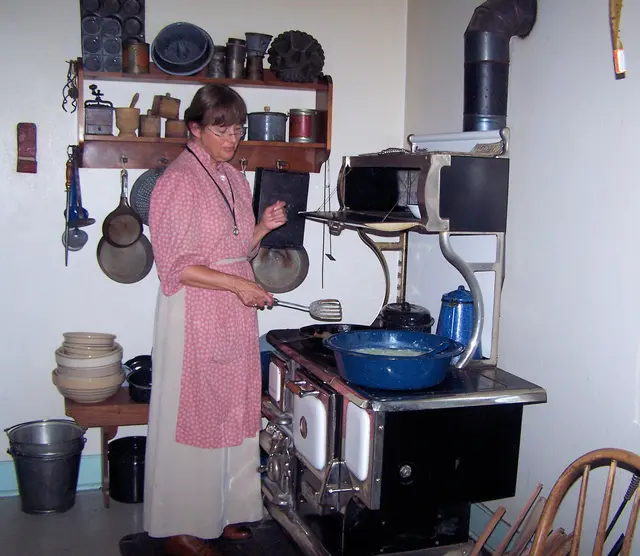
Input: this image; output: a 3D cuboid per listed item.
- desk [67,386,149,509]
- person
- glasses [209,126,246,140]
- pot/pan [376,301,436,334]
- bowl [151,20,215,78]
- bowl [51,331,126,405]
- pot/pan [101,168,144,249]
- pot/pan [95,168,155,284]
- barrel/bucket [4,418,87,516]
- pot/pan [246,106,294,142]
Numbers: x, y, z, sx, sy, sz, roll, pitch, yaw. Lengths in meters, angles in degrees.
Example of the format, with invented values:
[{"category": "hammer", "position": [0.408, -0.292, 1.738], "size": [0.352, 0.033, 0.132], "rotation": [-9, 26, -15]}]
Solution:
[{"category": "desk", "position": [-0.959, 0.754, 2.848], "size": [0.501, 0.448, 0.274], "rotation": [-1, 12, -16]}, {"category": "person", "position": [-0.413, 0.152, 2.263], "size": [0.451, 1.641, 0.404], "rotation": [-1, 8, -16]}, {"category": "glasses", "position": [-0.320, -0.517, 2.238], "size": [0.147, 0.043, 0.048], "rotation": [-7, 11, -44]}, {"category": "pot/pan", "position": [0.331, 0.123, 2.334], "size": [0.125, 0.097, 0.127], "rotation": [7, 7, 28]}, {"category": "bowl", "position": [-0.600, -1.004, 2.763], "size": [0.263, 0.243, 0.115], "rotation": [-1, 7, -11]}, {"category": "bowl", "position": [-1.023, 0.387, 2.779], "size": [0.296, 0.282, 0.299], "rotation": [3, 8, 0]}, {"category": "pot/pan", "position": [-0.908, -0.323, 2.909], "size": [0.175, 0.354, 0.116], "rotation": [-1, 8, -16]}, {"category": "pot/pan", "position": [-0.907, -0.218, 2.874], "size": [0.265, 0.546, 0.064], "rotation": [-2, 12, -4]}, {"category": "barrel/bucket", "position": [-1.198, 0.816, 2.882], "size": [0.368, 0.353, 0.382], "rotation": [2, -2, 0]}, {"category": "pot/pan", "position": [-0.247, -0.683, 2.876], "size": [0.162, 0.147, 0.161], "rotation": [0, 8, -1]}]
